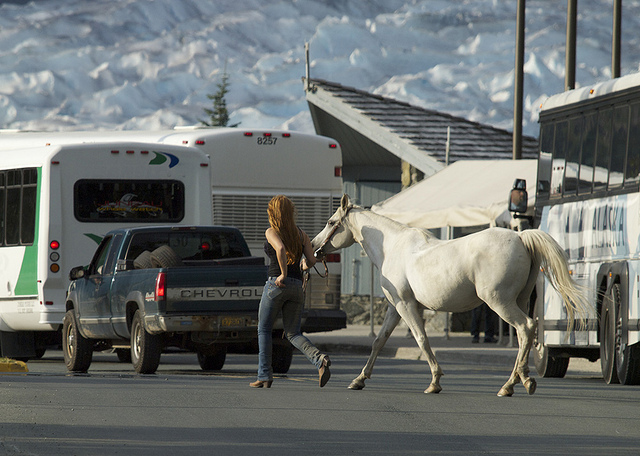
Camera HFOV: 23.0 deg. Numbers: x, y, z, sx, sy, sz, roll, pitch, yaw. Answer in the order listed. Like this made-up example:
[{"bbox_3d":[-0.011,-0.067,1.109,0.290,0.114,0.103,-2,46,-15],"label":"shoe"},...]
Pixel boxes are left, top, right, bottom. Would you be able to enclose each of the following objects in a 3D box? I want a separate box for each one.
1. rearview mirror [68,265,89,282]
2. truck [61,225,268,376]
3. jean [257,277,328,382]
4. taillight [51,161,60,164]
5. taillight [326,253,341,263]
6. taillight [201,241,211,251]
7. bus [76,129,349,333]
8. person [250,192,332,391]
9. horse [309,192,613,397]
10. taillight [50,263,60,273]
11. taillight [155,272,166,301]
[{"bbox_3d":[-4.170,0.774,27.156,0.378,0.185,0.265,-3,10,-28],"label":"rearview mirror"},{"bbox_3d":[-2.749,1.153,26.681,2.149,1.560,3.782,1,0,-29],"label":"truck"},{"bbox_3d":[-0.426,1.459,23.511,1.231,1.699,0.612,-2,0,13],"label":"jean"},{"bbox_3d":[-4.844,-1.204,28.685,0.126,0.047,0.013,0,0,-31],"label":"taillight"},{"bbox_3d":[0.259,0.587,31.500,0.398,0.248,0.211,1,1,5],"label":"taillight"},{"bbox_3d":[-2.029,0.300,27.656,0.146,0.165,0.027,0,0,4],"label":"taillight"},{"bbox_3d":[-1.222,-0.186,31.604,3.501,2.823,5.296,-1,5,-25],"label":"bus"},{"bbox_3d":[-0.503,0.971,23.787,1.136,2.940,1.226,0,0,-2],"label":"person"},{"bbox_3d":[1.889,0.980,23.695,3.686,2.996,0.811,0,0,25],"label":"horse"},{"bbox_3d":[-4.814,0.702,28.414,0.179,0.168,0.055,0,0,-20],"label":"taillight"},{"bbox_3d":[-2.556,0.911,25.041,0.170,0.456,0.089,0,0,-7],"label":"taillight"}]
